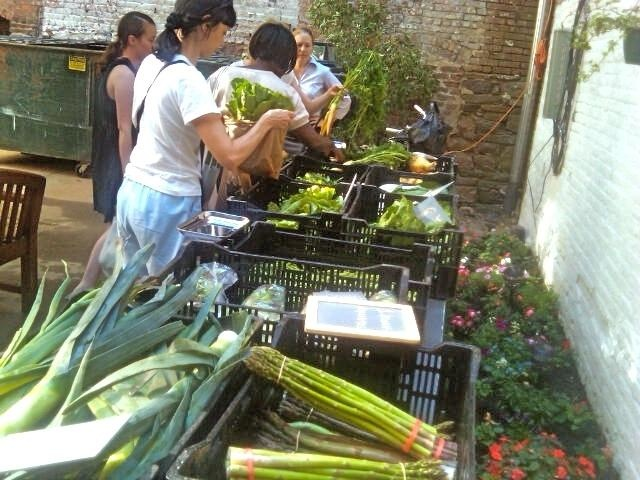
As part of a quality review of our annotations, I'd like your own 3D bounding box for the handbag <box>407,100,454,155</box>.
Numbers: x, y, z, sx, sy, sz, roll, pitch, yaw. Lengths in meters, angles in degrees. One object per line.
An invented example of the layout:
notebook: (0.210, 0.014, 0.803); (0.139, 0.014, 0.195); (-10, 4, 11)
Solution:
handbag: (0.973, -0.945, 4.839); (0.395, 0.546, 0.422); (12, 7, -1)
